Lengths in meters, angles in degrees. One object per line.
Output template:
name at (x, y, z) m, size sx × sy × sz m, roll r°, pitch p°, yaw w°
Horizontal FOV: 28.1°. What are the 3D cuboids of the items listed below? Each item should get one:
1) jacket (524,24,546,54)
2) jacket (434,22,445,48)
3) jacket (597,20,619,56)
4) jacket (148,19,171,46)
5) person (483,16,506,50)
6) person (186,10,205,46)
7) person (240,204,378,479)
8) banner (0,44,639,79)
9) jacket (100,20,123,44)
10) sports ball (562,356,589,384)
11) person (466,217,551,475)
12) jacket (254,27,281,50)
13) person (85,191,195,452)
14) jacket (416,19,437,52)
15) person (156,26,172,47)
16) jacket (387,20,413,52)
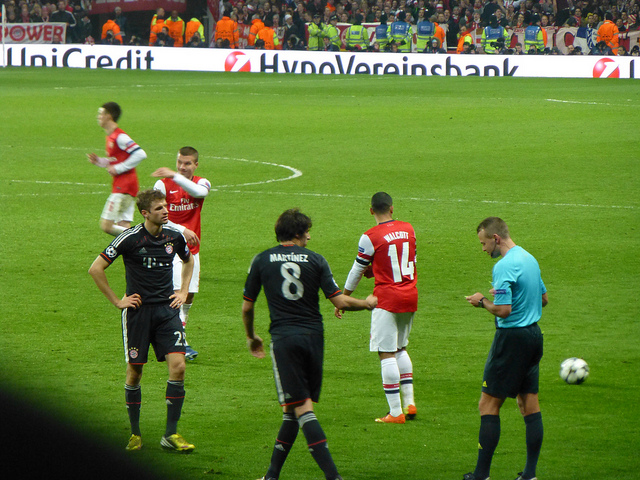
jacket at (7.655, -7.285, 46.038) m, size 0.729 × 1.082 × 0.632 m, roll 11°, pitch 25°, yaw 28°
jacket at (4.336, -7.539, 46.333) m, size 0.517 × 0.583 × 0.214 m, roll 8°, pitch -9°, yaw -35°
jacket at (10.115, -7.132, 44.904) m, size 0.805 × 1.569 × 0.634 m, roll 11°, pitch 51°, yaw 28°
jacket at (-6.054, -7.841, 48.135) m, size 0.803 × 0.991 × 0.372 m, roll 10°, pitch 2°, yaw 15°
person at (6.220, -7.395, 45.494) m, size 0.779 × 1.108 × 0.700 m, roll 3°, pitch 10°, yaw 27°
person at (-4.699, -7.842, 48.048) m, size 0.632 × 1.010 × 0.626 m, roll -3°, pitch 9°, yaw -12°
person at (-0.283, 1.311, 16.224) m, size 1.445 × 3.304 × 1.090 m, roll 0°, pitch 9°, yaw 8°
banner at (-0.249, -6.322, 44.810) m, size 21.929 × 1.424 × 1.718 m, roll 1°, pitch 9°, yaw 12°
jacket at (-7.812, -7.937, 48.125) m, size 0.733 × 0.994 × 0.419 m, roll -1°, pitch -1°, yaw -1°
sports ball at (3.343, 1.700, 16.826) m, size 0.320 × 0.314 × 0.312 m, roll -12°, pitch 1°, yaw 0°
person at (2.369, 1.350, 16.345) m, size 0.951 × 3.187 × 0.850 m, roll 0°, pitch 9°, yaw 7°
jacket at (-1.998, -7.523, 47.440) m, size 1.016 × 0.987 × 0.508 m, roll 3°, pitch 17°, yaw 4°
person at (-2.333, 1.058, 17.024) m, size 1.393 × 3.420 × 1.088 m, roll 0°, pitch -3°, yaw -29°
jacket at (3.901, -7.583, 46.620) m, size 0.813 × 1.175 × 0.769 m, roll -20°, pitch 34°, yaw -27°
person at (-5.846, -7.581, 47.708) m, size 0.613 × 0.786 × 0.305 m, roll 1°, pitch -2°, yaw 0°
jacket at (2.865, -7.407, 46.342) m, size 1.045 × 1.304 × 0.747 m, roll 3°, pitch -1°, yaw -6°
